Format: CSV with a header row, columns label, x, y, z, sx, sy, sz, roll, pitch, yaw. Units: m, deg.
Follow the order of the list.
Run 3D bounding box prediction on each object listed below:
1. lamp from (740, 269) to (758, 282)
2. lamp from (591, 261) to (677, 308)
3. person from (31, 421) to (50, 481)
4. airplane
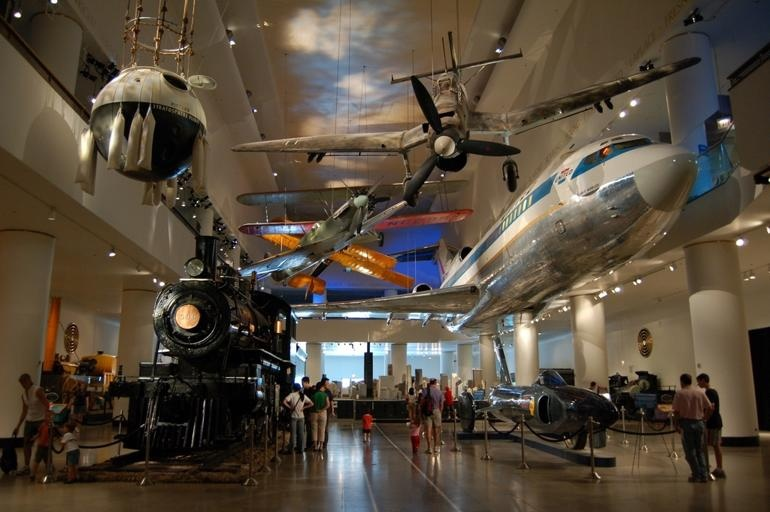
label,x,y,z,sx,sy,sz,roll,pitch,yaw
lamp,11.775,0.611,17.649,0.238,0.145,0.369,12,-17,3
lamp,8.616,0.963,18.719,3.143,0.506,0.465,-28,-5,-2
person,-6.936,3.960,11.092,0.339,1.131,1.493,11,-23,-29
airplane,3.455,-1.091,15.974,10.484,4.534,10.726,-24,0,5
